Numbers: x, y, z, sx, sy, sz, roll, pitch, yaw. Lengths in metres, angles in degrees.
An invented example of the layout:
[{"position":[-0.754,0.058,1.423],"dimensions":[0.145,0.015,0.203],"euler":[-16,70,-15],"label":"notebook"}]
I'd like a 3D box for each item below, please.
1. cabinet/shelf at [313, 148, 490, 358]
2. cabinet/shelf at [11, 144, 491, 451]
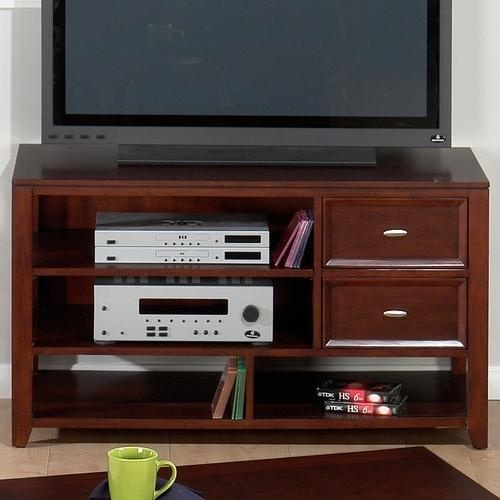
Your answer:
[{"position":[0.437,-0.001,1.765],"dimensions":[0.627,0.665,0.523],"euler":[-1,5,3],"label":"cabinet/shelf"},{"position":[-0.011,0.164,1.899],"dimensions":[1.431,0.644,0.506],"euler":[-1,3,4],"label":"cabinet/shelf"}]
